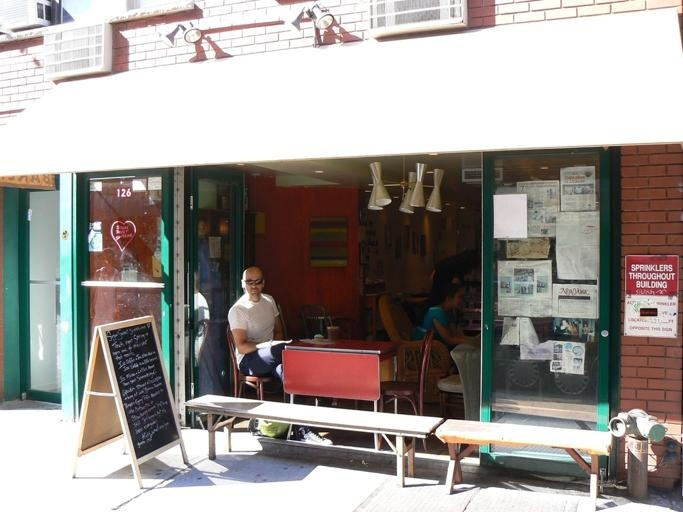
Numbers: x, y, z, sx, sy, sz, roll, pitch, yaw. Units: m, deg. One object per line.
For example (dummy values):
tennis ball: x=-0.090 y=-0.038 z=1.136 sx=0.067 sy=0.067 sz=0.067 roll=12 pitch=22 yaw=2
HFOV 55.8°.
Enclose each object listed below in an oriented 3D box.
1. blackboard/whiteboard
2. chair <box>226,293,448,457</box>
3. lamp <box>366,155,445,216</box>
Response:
blackboard/whiteboard: x=-2.129 y=1.416 z=6.920 sx=0.588 sy=1.452 sz=0.722 roll=5 pitch=11 yaw=38
chair: x=-0.215 y=1.171 z=8.418 sx=2.084 sy=1.506 sz=1.190 roll=-1 pitch=0 yaw=17
lamp: x=0.875 y=-0.882 z=8.512 sx=0.897 sy=0.550 sz=0.881 roll=6 pitch=-2 yaw=-44
